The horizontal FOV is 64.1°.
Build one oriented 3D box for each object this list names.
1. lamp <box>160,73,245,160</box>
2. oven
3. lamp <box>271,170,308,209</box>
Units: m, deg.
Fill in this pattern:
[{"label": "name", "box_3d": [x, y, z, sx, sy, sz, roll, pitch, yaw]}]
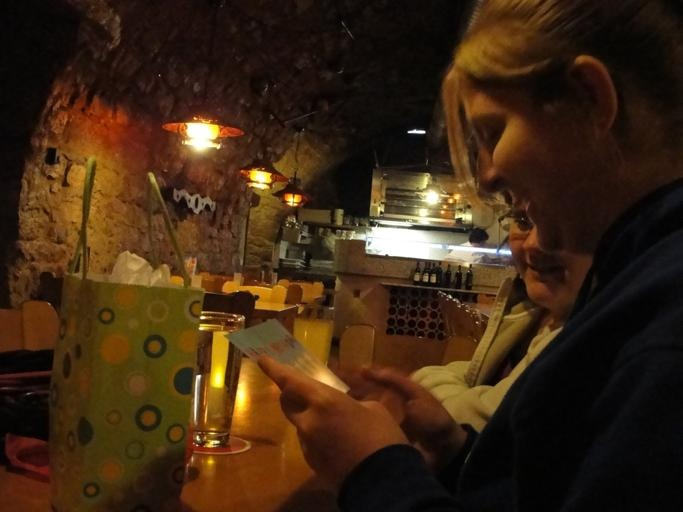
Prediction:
[{"label": "lamp", "box_3d": [-1.138, -1.179, 4.380, 0.613, 0.553, 0.579, 1, 3, -32]}, {"label": "oven", "box_3d": [1.322, -0.826, 9.306, 1.702, 0.862, 0.940, 5, -13, -3]}, {"label": "lamp", "box_3d": [-0.596, -0.826, 6.932, 0.460, 0.390, 0.455, 6, -3, -34]}]
